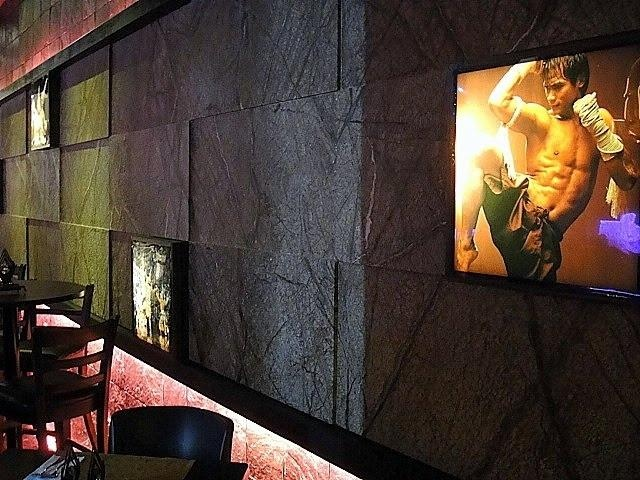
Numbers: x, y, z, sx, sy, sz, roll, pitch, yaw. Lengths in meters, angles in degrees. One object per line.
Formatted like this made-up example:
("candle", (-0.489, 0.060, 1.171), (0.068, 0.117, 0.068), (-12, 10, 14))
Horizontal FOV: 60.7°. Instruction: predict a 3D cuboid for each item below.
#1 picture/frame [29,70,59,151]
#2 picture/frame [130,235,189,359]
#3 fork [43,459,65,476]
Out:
("picture/frame", (-2.917, -1.377, 5.773), (0.098, 0.850, 0.774), (3, -7, -32))
("picture/frame", (-1.242, 0.387, 4.106), (0.095, 0.847, 0.740), (-4, 8, -41))
("fork", (-1.056, 0.898, 2.157), (0.073, 0.049, 0.100), (8, -11, -26))
